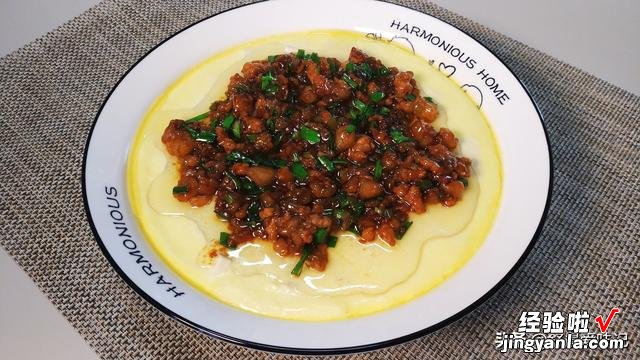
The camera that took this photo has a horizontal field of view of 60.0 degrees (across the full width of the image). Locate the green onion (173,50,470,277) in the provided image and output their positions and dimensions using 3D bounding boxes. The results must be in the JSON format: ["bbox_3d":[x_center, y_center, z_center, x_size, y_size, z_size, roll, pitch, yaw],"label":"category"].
[{"bbox_3d":[-0.145,-0.263,6.337,2.958,0.310,2.445,4,74,0],"label":"green onion"}]

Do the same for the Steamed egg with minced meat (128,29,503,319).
[{"bbox_3d":[-0.059,-0.057,6.108,3.818,0.858,3.024,0,86,-1],"label":"Steamed egg with minced meat"}]
